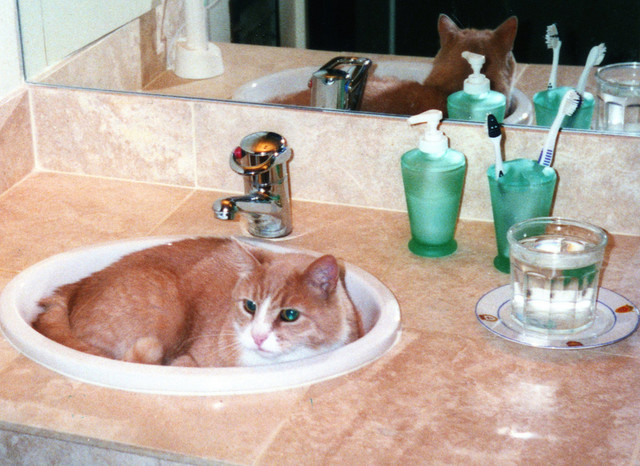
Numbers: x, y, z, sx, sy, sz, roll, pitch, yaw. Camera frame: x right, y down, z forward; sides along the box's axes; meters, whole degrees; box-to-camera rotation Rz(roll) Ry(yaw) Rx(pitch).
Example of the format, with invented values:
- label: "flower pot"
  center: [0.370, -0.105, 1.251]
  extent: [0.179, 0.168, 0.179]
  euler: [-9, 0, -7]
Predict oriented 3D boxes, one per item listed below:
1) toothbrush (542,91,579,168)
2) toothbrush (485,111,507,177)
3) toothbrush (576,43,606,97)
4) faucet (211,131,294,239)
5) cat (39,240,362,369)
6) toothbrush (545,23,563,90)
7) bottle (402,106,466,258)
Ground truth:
- label: "toothbrush"
  center: [0.399, -0.180, 1.016]
  extent: [0.025, 0.146, 0.013]
  euler: [30, 21, 20]
- label: "toothbrush"
  center: [0.276, -0.146, 0.962]
  extent: [0.030, 0.113, 0.012]
  euler: [-11, 18, -1]
- label: "toothbrush"
  center: [0.440, -0.276, 0.996]
  extent: [0.022, 0.101, 0.016]
  euler: [30, 13, 33]
- label: "faucet"
  center: [-0.117, -0.070, 1.056]
  extent: [0.108, 0.179, 0.181]
  euler: [14, 32, 27]
- label: "cat"
  center: [-0.169, 0.115, 0.986]
  extent: [0.374, 0.155, 0.223]
  euler: [7, 29, 9]
- label: "toothbrush"
  center: [0.380, -0.292, 1.007]
  extent: [0.028, 0.104, 0.024]
  euler: [7, 31, 15]
- label: "bottle"
  center: [0.184, -0.081, 1.011]
  extent: [0.100, 0.240, 0.076]
  euler: [3, 30, 9]
